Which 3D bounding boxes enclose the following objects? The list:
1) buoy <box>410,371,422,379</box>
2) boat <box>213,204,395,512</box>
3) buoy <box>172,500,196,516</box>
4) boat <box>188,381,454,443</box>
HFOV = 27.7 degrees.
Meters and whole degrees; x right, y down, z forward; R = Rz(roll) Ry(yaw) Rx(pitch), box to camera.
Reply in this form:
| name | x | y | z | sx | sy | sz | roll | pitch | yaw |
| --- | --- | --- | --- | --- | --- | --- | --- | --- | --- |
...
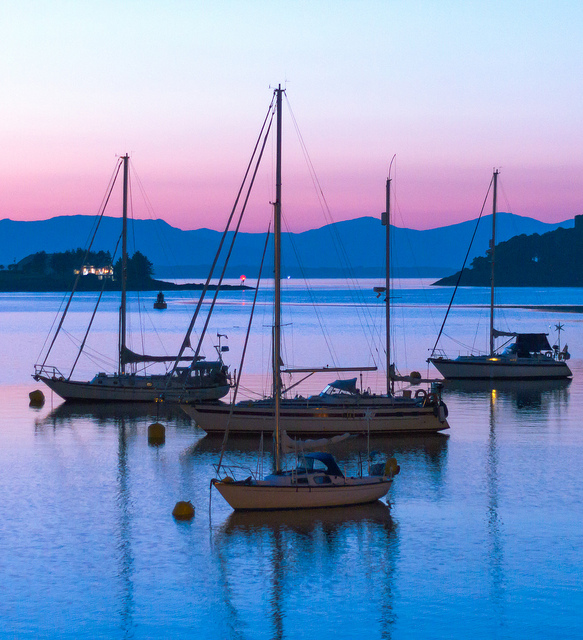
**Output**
| name | x | y | z | sx | sy | sz | roll | pitch | yaw |
| --- | --- | --- | --- | --- | --- | --- | --- | --- | --- |
| buoy | 6.832 | 3.054 | 65.067 | 0.666 | 0.568 | 0.934 | 3 | 4 | -3 |
| boat | 0.286 | 0.982 | 35.579 | 4.915 | 8.749 | 5.120 | 0 | 8 | -1 |
| buoy | -3.089 | 5.462 | 34.336 | 0.698 | 0.316 | 0.613 | -2 | 9 | -15 |
| boat | 1.080 | 3.597 | 45.326 | 8.334 | 2.128 | 2.152 | 2 | -5 | -5 |
